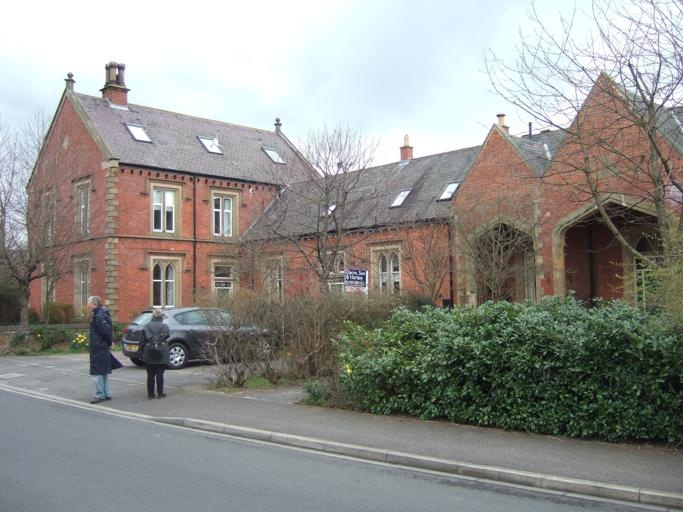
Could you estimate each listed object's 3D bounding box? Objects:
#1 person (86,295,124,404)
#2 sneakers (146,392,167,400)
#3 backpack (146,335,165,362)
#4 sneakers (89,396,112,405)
[{"bbox_3d":[-5.126,1.999,14.936,0.552,2.257,0.431,-2,4,-21],"label":"person"},{"bbox_3d":[-4.039,3.043,15.132,0.419,0.190,0.155,0,1,-34],"label":"sneakers"},{"bbox_3d":[-4.052,2.048,15.074,0.413,0.508,0.504,4,-14,-20],"label":"backpack"},{"bbox_3d":[-5.169,3.093,14.910,0.408,0.180,0.137,14,-17,-42],"label":"sneakers"}]
